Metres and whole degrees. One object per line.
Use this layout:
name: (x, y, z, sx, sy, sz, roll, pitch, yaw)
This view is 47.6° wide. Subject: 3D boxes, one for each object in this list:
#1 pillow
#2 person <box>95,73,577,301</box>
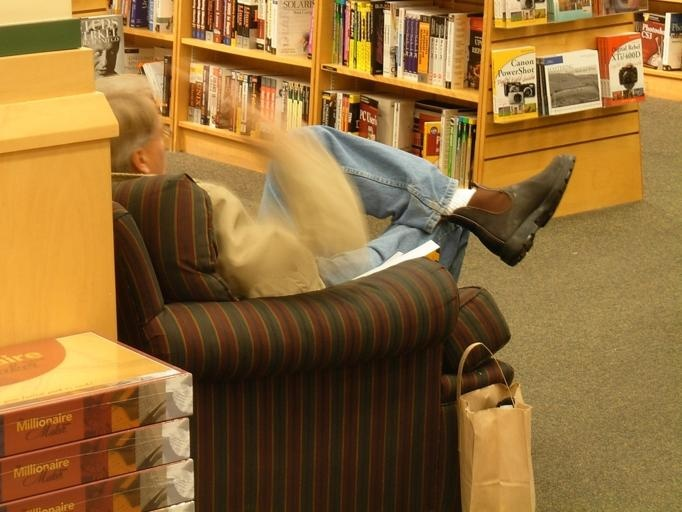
pillow: (-0.411, -0.046, 1.729, 0.339, 0.311, 0.174, 9, 12, 34)
person: (0.077, -0.110, 2.130, 1.266, 0.675, 0.563, 6, 3, -24)
